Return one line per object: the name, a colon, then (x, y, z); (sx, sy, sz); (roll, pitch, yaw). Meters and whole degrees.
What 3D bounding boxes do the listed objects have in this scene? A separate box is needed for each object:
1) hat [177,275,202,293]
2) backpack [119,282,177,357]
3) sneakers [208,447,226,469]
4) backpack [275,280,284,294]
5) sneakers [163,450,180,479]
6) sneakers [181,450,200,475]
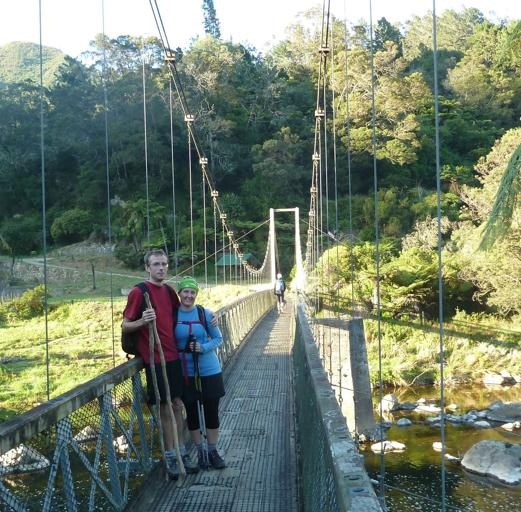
hat: (-0.431, 0.163, 3.504); (0.124, 0.140, 0.102); (19, -24, -27)
backpack: (-0.613, 0.382, 3.295); (0.415, 0.475, 0.309); (-4, 5, -34)
sneakers: (-0.287, 1.289, 3.670); (0.061, 0.087, 0.178); (-3, 0, -22)
backpack: (0.557, 0.914, 16.956); (0.293, 0.513, 0.264); (1, -26, 3)
sneakers: (-0.536, 1.243, 3.409); (0.055, 0.088, 0.183); (0, -1, -9)
sneakers: (-0.444, 1.277, 3.537); (0.057, 0.084, 0.163); (-5, 0, -32)
